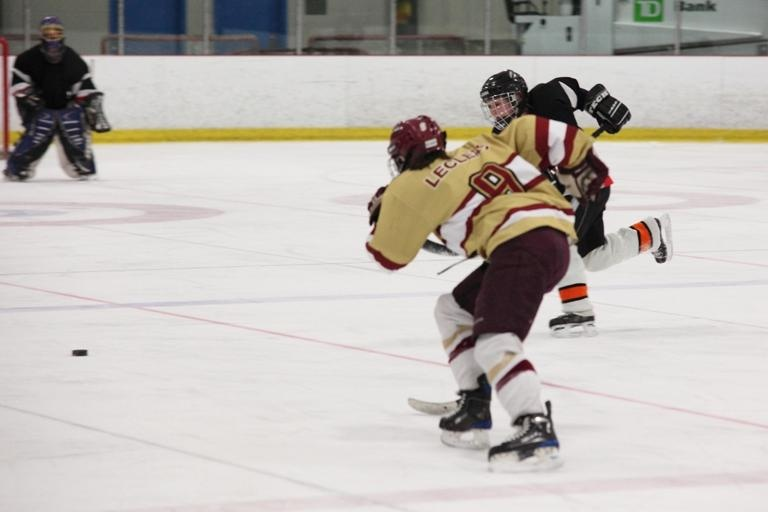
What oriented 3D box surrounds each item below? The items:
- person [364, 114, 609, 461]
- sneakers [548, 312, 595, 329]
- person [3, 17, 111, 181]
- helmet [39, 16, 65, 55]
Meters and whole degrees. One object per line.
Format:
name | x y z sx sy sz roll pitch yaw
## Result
person | 0.291 0.085 3.306 0.763 1.125 0.676 3 9 8
sneakers | 0.871 0.303 4.455 0.261 0.079 0.070 0 0 5
person | -3.364 -1.569 9.810 1.005 1.585 0.530 0 10 -13
helmet | -3.435 -2.255 9.878 0.227 0.408 0.269 -1 9 -16
